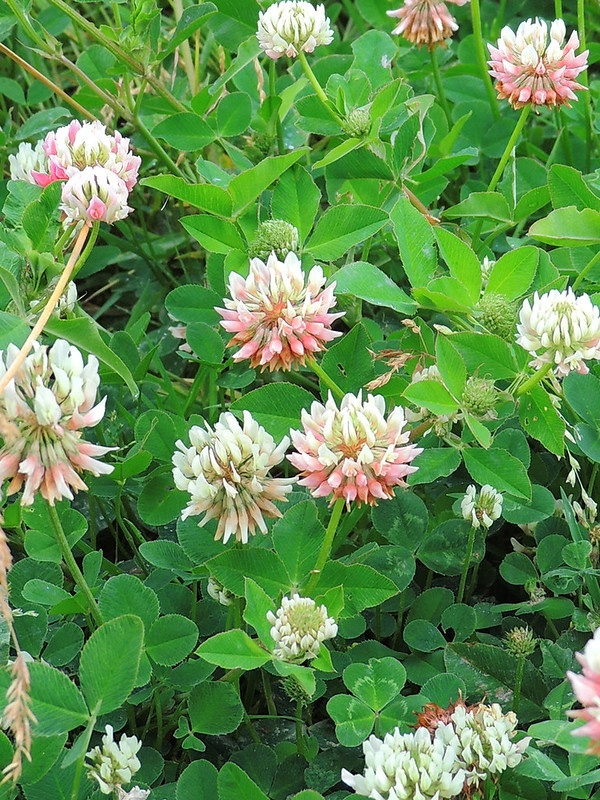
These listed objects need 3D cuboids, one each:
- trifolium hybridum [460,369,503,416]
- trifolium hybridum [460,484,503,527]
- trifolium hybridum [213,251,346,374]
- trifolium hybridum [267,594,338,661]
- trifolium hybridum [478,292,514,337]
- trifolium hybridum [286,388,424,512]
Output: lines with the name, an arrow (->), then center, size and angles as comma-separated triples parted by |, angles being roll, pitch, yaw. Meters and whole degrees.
trifolium hybridum -> 0.292, -0.006, 1.208 | 0.068, 0.064, 0.061 | -20, 38, -7
trifolium hybridum -> 0.340, 0.199, 1.354 | 0.092, 0.049, 0.085 | 10, 78, -3
trifolium hybridum -> -0.031, -0.123, 1.090 | 0.196, 0.114, 0.173 | 4, 85, 6
trifolium hybridum -> 0.001, 0.303, 0.999 | 0.097, 0.097, 0.092 | 3, 34, -3
trifolium hybridum -> 0.351, -0.151, 1.291 | 0.067, 0.068, 0.087 | 4, 45, 14
trifolium hybridum -> 0.081, 0.063, 0.950 | 0.167, 0.163, 0.157 | 4, 60, 3
